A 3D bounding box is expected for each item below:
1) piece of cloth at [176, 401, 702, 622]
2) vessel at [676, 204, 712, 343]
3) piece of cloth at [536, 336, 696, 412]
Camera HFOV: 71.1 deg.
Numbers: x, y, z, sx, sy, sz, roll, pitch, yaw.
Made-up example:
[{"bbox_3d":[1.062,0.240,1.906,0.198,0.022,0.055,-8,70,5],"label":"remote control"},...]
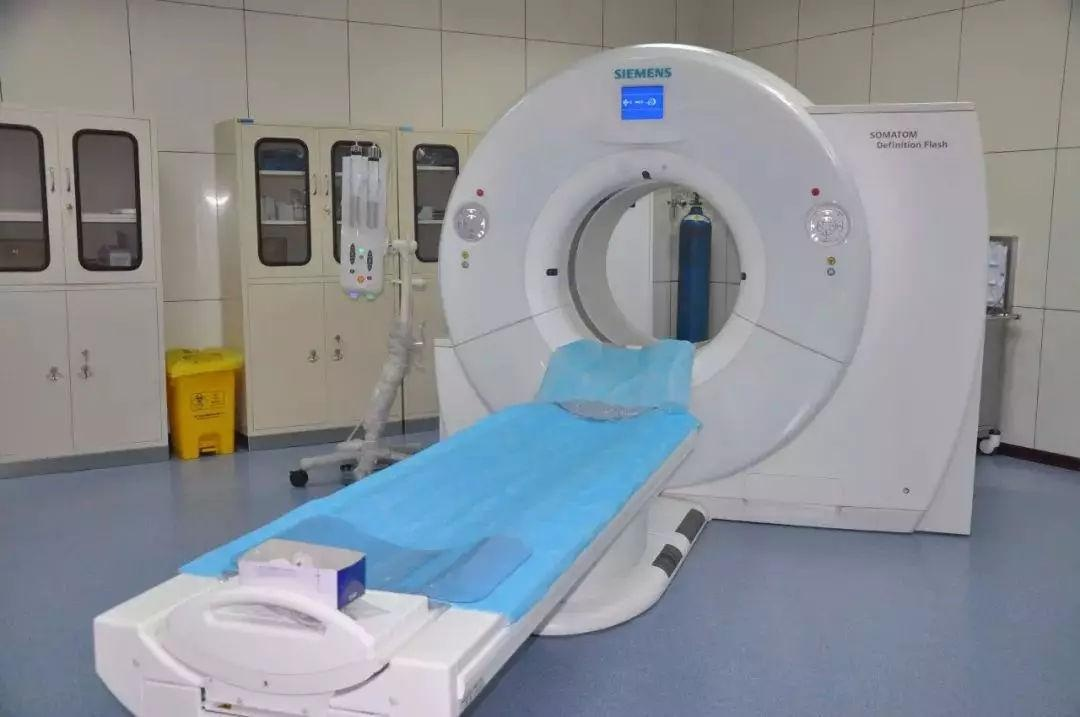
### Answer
[{"bbox_3d":[-0.156,0.436,2.401,0.796,0.151,1.618,11,20,36],"label":"piece of cloth"},{"bbox_3d":[1.293,-0.730,6.291,0.199,1.152,0.214,4,7,43],"label":"vessel"},{"bbox_3d":[0.318,0.065,3.167,0.383,0.074,0.393,-5,35,12],"label":"piece of cloth"}]
